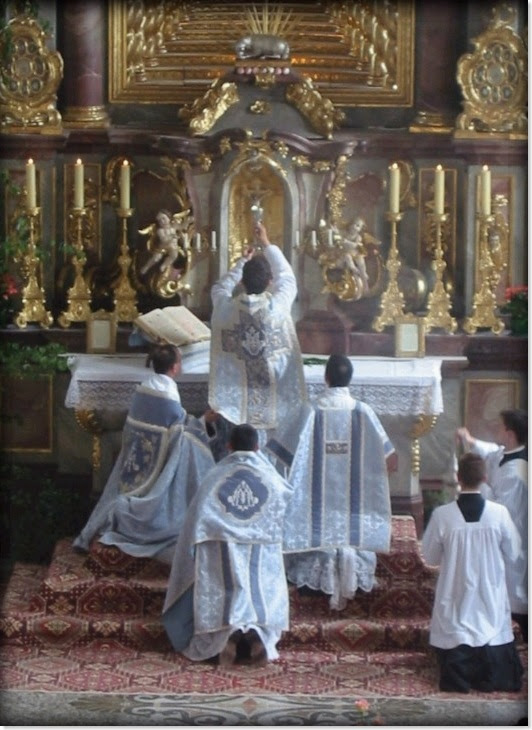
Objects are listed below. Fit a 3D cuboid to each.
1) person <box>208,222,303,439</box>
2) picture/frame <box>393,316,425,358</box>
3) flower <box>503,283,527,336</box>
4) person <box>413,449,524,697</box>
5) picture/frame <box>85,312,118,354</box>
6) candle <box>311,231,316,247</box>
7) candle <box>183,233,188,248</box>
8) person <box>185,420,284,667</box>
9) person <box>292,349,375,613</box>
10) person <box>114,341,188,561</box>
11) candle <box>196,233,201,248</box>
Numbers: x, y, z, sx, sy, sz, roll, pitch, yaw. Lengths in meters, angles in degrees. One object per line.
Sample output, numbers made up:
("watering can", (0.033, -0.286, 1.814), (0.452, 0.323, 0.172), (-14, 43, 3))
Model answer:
("person", (-0.059, -0.166, 7.494), (0.417, 1.112, 0.316), (-2, 41, 0))
("picture/frame", (0.789, -0.148, 8.264), (0.225, 0.311, 0.041), (0, 2, 0))
("flower", (1.408, -0.291, 8.385), (0.170, 0.268, 0.157), (2, 4, 34))
("person", (0.891, 0.903, 6.508), (0.429, 1.018, 0.222), (0, 4, 7))
("picture/frame", (-0.928, -0.168, 8.408), (0.196, 0.286, 0.197), (2, 7, 2))
("candle", (0.264, -0.691, 8.358), (0.024, 0.099, 0.060), (2, 4, 24))
("candle", (-0.448, -0.688, 8.432), (0.025, 0.089, 0.051), (-3, 5, -37))
("person", (-0.178, 0.802, 6.624), (0.560, 1.033, 0.330), (0, 4, -1))
("person", (0.328, 0.549, 6.994), (0.477, 1.156, 0.222), (0, 4, 1))
("person", (-0.519, 0.423, 7.183), (0.522, 1.002, 0.464), (0, 4, -2))
("candle", (-0.376, -0.678, 8.358), (0.026, 0.095, 0.013), (1, 4, 11))
